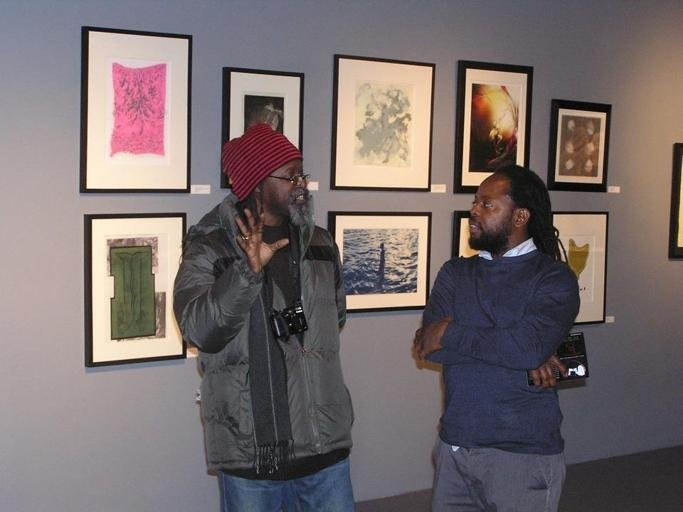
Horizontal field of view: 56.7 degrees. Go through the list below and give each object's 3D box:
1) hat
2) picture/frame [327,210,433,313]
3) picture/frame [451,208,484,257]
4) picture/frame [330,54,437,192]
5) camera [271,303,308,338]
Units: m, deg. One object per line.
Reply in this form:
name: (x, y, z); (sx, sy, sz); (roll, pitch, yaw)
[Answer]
hat: (-0.408, -0.457, 3.169); (0.417, 0.381, 0.329); (1, 11, 23)
picture/frame: (0.235, 0.023, 4.288); (0.682, 0.658, 0.030); (-3, 8, -18)
picture/frame: (0.791, -0.156, 4.022); (0.331, 0.441, 0.031); (-4, 5, -32)
picture/frame: (0.254, -0.935, 4.350); (0.924, 1.106, 0.075); (-2, 7, -21)
camera: (-0.248, 0.304, 2.979); (0.184, 0.134, 0.107); (-6, -1, -23)
